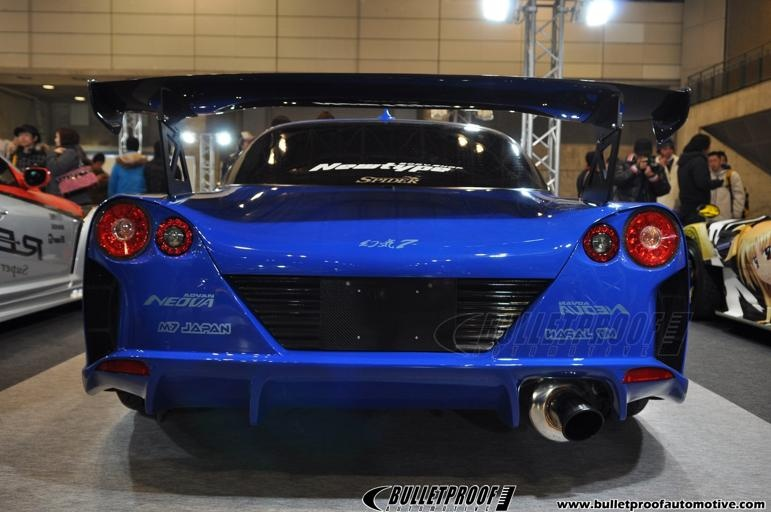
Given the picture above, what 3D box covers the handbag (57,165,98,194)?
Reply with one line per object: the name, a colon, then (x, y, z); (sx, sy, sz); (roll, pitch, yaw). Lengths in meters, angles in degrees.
handbag: (-3.988, -0.962, 9.951); (0.441, 0.172, 0.361); (-21, 19, 45)
